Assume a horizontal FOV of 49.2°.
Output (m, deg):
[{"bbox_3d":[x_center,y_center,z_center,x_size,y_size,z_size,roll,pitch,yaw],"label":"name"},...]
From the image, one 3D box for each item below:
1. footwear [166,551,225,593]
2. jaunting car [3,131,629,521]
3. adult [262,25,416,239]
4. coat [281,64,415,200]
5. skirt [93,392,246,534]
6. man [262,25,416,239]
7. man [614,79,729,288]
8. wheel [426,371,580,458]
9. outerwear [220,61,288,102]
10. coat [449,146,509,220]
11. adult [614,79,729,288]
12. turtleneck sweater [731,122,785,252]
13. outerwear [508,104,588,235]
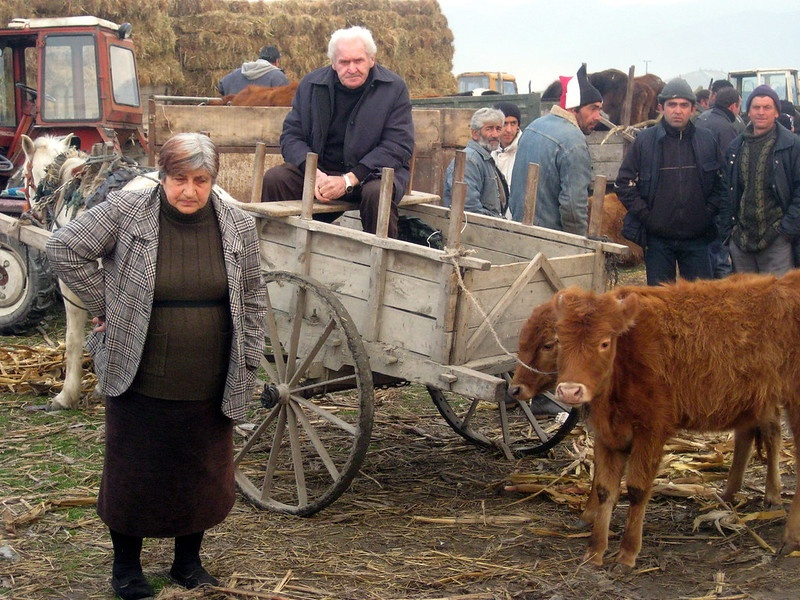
[{"bbox_3d":[-1.322,1.742,5.549,0.351,0.159,0.139,1,-1,40],"label":"footwear"},{"bbox_3d":[-0.975,0.173,7.581,4.876,1.962,2.481,18,14,36],"label":"jaunting car"},{"bbox_3d":[-0.513,-1.276,7.470,1.344,2.032,1.449,-7,25,-24],"label":"adult"},{"bbox_3d":[-0.471,-1.455,7.634,1.102,1.185,0.984,5,2,24],"label":"coat"},{"bbox_3d":[-1.439,1.027,5.438,0.878,0.941,0.532,0,15,1],"label":"skirt"},{"bbox_3d":[-0.489,-1.294,7.498,1.216,2.044,1.466,14,23,27],"label":"man"},{"bbox_3d":[2.815,-0.842,8.973,1.055,2.765,0.748,-4,21,11],"label":"man"},{"bbox_3d":[0.769,0.870,8.011,0.805,0.544,1.532,-26,9,-34],"label":"wheel"},{"bbox_3d":[-2.140,-3.144,12.733,1.219,0.604,0.471,6,8,10],"label":"outerwear"},{"bbox_3d":[0.866,-1.319,9.195,0.680,1.079,1.223,-1,7,8],"label":"coat"},{"bbox_3d":[2.798,-0.857,8.955,1.052,2.760,0.748,-5,21,9],"label":"adult"},{"bbox_3d":[3.558,-1.130,8.743,0.447,1.341,0.372,3,31,22],"label":"turtleneck sweater"},{"bbox_3d":[1.497,-1.401,9.199,0.582,1.373,0.934,-17,39,-36],"label":"outerwear"}]
